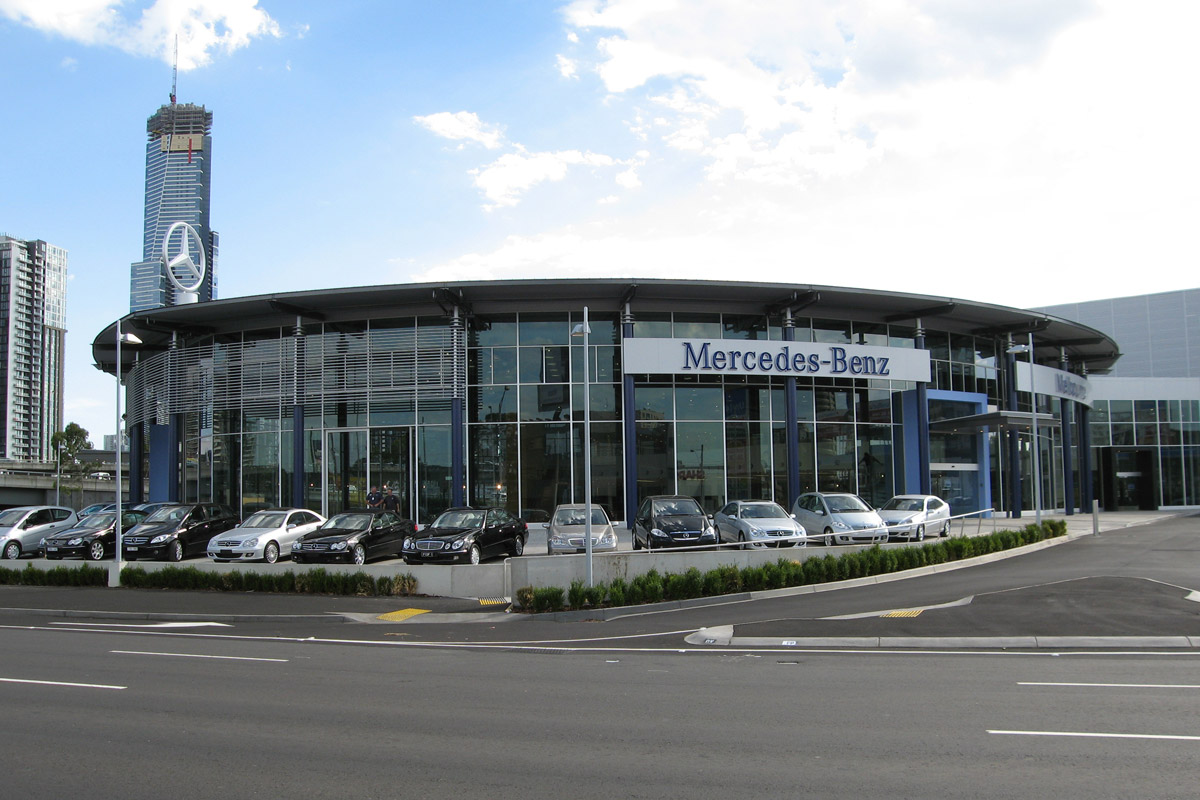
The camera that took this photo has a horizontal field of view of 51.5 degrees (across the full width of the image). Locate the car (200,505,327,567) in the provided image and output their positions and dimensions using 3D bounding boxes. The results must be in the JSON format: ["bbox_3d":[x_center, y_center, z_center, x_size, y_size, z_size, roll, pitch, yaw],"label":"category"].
[{"bbox_3d":[-10.502,4.214,39.619,2.125,1.370,4.618,1,1,21],"label":"car"}]

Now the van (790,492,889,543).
[{"bbox_3d":[7.593,3.747,39.727,1.630,1.643,2.899,2,-8,-31],"label":"van"}]

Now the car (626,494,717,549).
[{"bbox_3d":[2.155,3.640,38.504,1.956,1.398,4.364,-2,6,-7],"label":"car"}]

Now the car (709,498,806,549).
[{"bbox_3d":[4.734,3.727,37.555,2.387,1.441,2.259,-2,-7,-6],"label":"car"}]

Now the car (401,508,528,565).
[{"bbox_3d":[-4.162,4.033,37.011,1.766,1.624,3.586,-7,-8,32],"label":"car"}]
